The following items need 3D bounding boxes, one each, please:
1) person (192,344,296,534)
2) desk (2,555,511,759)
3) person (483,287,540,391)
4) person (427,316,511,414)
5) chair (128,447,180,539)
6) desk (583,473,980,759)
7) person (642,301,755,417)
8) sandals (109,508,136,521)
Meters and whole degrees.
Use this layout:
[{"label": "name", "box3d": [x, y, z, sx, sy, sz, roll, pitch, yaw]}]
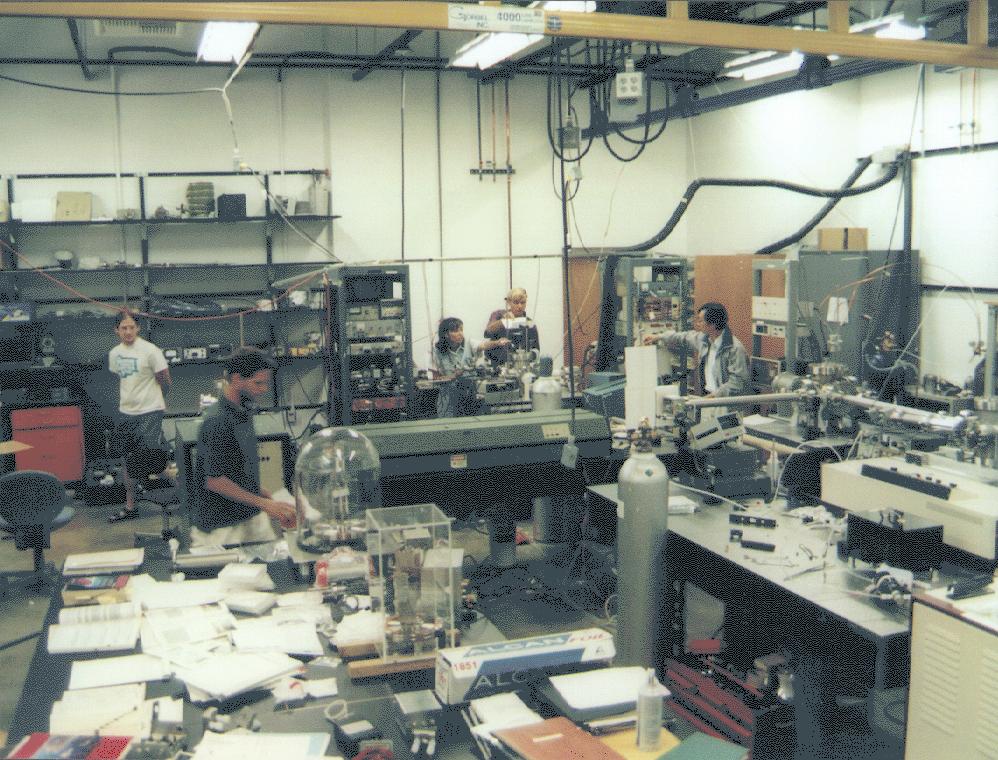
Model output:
[{"label": "person", "box3d": [-1.325, 0.357, 4.981, 0.477, 0.991, 0.686, -6, 7, -18]}, {"label": "desk", "box3d": [-1.037, 1.104, 3.854, 1.614, 0.385, 1.039, -4, 7, -5]}, {"label": "person", "box3d": [0.082, -0.359, 9.063, 0.608, 0.889, 0.597, 5, -7, 2]}, {"label": "person", "box3d": [-0.315, -0.117, 8.596, 0.621, 0.818, 1.056, -3, 7, 4]}, {"label": "chair", "box3d": [-2.595, 0.932, 7.708, 0.469, 0.731, 0.422, -6, 6, -34]}, {"label": "desk", "box3d": [1.304, 1.145, 4.288, 0.380, 0.917, 1.395, -8, 8, -29]}, {"label": "person", "box3d": [1.388, -0.335, 7.844, 0.543, 1.005, 0.595, 23, -37, -10]}, {"label": "sandals", "box3d": [-2.889, 1.035, 7.642, 0.194, 0.082, 0.072, 3, 0, -29]}]
